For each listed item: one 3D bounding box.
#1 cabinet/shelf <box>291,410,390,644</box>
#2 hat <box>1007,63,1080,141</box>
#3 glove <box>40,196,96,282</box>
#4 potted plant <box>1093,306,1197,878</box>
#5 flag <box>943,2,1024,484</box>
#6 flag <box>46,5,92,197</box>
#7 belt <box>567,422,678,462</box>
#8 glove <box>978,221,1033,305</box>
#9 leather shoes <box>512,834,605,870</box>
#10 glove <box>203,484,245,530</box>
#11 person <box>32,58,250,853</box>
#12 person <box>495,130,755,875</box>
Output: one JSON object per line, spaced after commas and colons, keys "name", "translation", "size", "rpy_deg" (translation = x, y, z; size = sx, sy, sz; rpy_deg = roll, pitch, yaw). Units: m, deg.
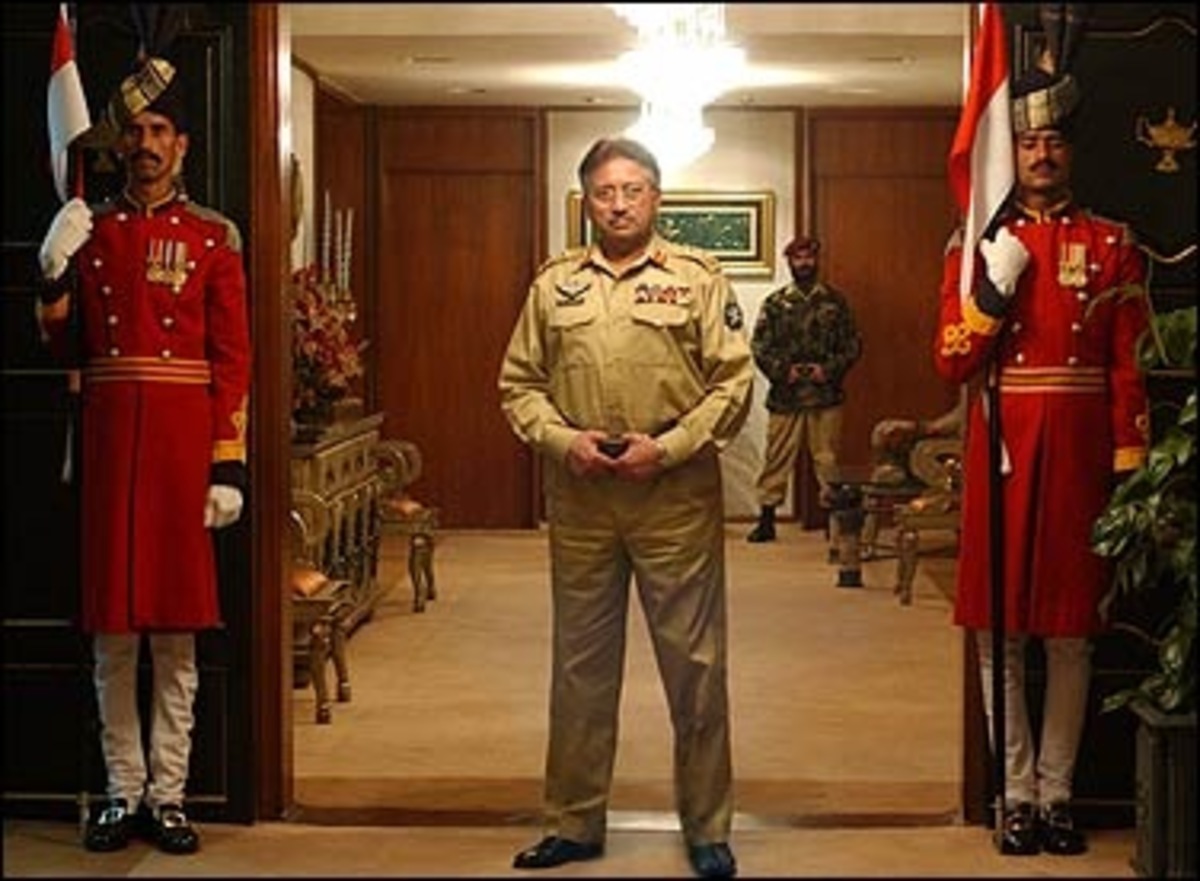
{"name": "cabinet/shelf", "translation": [-1.108, 0.351, 5.378], "size": [0.386, 0.826, 0.985], "rpy_deg": [2, 3, 3]}
{"name": "hat", "translation": [1.215, -0.922, 3.718], "size": [0.190, 0.137, 0.144], "rpy_deg": [-3, -4, -32]}
{"name": "glove", "translation": [-1.444, -0.528, 3.649], "size": [0.148, 0.214, 0.066], "rpy_deg": [-23, -41, 37]}
{"name": "potted plant", "translation": [1.511, 0.379, 3.691], "size": [0.308, 1.460, 0.582], "rpy_deg": [4, 14, 20]}
{"name": "flag", "translation": [1.064, -0.781, 3.730], "size": [0.172, 0.795, 0.164], "rpy_deg": [-2, 14, -6]}
{"name": "flag", "translation": [-1.465, -0.923, 3.721], "size": [0.113, 0.531, 0.214], "rpy_deg": [-6, 14, -21]}
{"name": "belt", "translation": [0.087, 0.001, 3.591], "size": [0.231, 0.081, 0.138], "rpy_deg": [0, 13, 3]}
{"name": "glove", "translation": [1.108, -0.480, 3.701], "size": [0.129, 0.183, 0.154], "rpy_deg": [0, 13, 5]}
{"name": "leather shoes", "translation": [-0.114, 1.122, 3.743], "size": [0.272, 0.096, 0.091], "rpy_deg": [1, -4, -13]}
{"name": "glove", "translation": [-1.043, 0.189, 3.769], "size": [0.091, 0.121, 0.050], "rpy_deg": [3, -6, -6]}
{"name": "person", "translation": [-1.255, 0.041, 3.787], "size": [0.514, 2.133, 0.679], "rpy_deg": [3, 14, 18]}
{"name": "person", "translation": [0.069, 0.178, 3.672], "size": [0.682, 1.925, 0.533], "rpy_deg": [0, 14, 5]}
